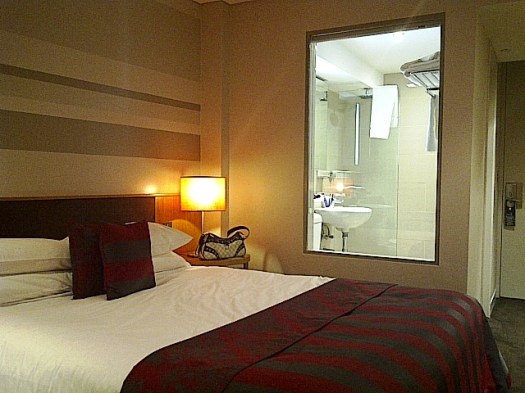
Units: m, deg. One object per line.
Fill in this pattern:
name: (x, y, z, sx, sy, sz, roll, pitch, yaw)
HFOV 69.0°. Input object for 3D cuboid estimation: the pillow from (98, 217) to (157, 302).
pillow: (-0.915, 0.421, 2.631, 0.104, 0.521, 0.548, -15, -29, 22)

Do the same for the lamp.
lamp: (-0.620, 0.163, 4.027, 0.451, 0.887, 0.274, 0, 20, -10)

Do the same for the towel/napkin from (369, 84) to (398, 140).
towel/napkin: (1.255, -0.829, 3.771, 0.323, 0.523, 0.314, 1, 10, -13)

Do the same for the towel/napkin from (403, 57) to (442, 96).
towel/napkin: (1.491, -1.168, 3.655, 0.356, 0.182, 0.239, 12, 6, 22)

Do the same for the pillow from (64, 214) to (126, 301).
pillow: (-1.102, 0.422, 2.516, 0.188, 0.587, 0.463, -10, -5, 31)
